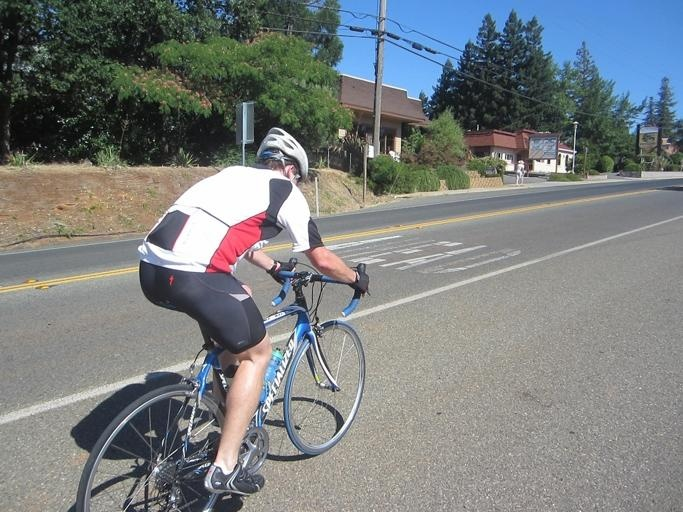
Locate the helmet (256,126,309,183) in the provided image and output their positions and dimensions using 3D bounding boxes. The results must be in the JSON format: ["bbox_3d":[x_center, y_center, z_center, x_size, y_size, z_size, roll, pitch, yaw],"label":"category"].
[{"bbox_3d":[-0.465,-0.812,4.592,0.238,0.314,0.352,9,21,18],"label":"helmet"}]

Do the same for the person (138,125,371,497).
[{"bbox_3d":[-0.747,0.532,4.332,1.399,2.343,0.703,-8,14,-31],"label":"person"}]

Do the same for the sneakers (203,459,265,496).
[{"bbox_3d":[-0.793,1.621,4.250,0.493,0.284,0.185,7,-2,-40],"label":"sneakers"}]

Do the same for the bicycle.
[{"bbox_3d":[-0.984,1.143,4.812,0.589,1.516,2.223,9,31,37],"label":"bicycle"}]
